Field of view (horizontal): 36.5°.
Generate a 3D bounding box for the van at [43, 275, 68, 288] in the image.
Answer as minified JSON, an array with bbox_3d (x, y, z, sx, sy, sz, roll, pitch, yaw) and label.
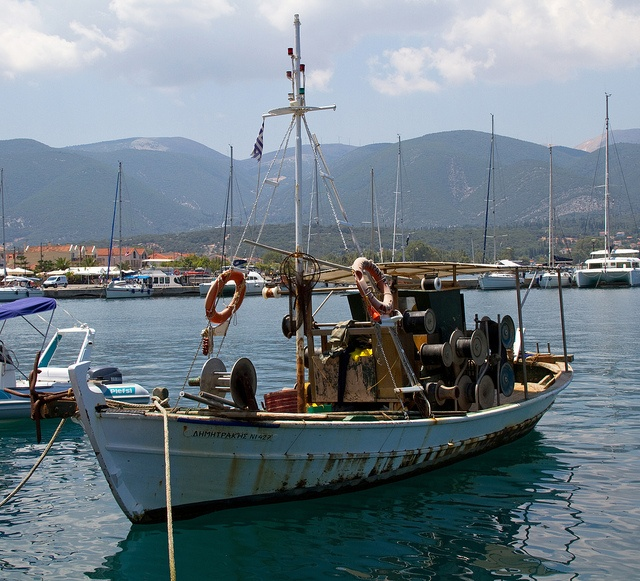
[{"bbox_3d":[-29.786,-0.872,110.088,1.797,1.520,3.150,-5,-9,20],"label":"van"}]
